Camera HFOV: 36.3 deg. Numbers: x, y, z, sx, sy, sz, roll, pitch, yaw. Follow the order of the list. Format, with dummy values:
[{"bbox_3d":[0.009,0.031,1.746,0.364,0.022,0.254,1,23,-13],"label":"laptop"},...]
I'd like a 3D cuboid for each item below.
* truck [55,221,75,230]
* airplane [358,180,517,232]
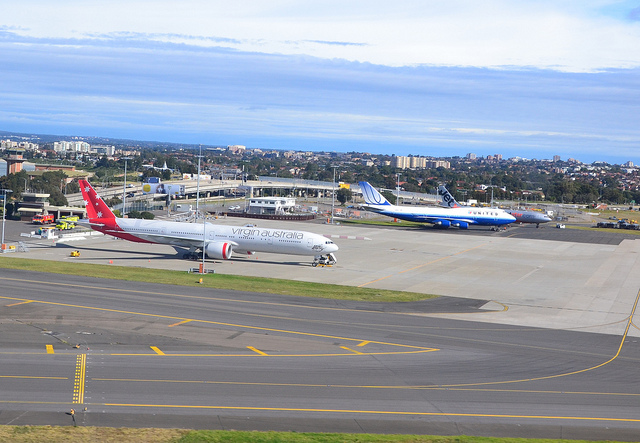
[{"bbox_3d":[-38.448,0.520,147.447,3.864,1.068,1.659,0,7,-7],"label":"truck"},{"bbox_3d":[20.665,-2.642,174.205,25.843,7.528,4.209,3,7,18],"label":"airplane"}]
